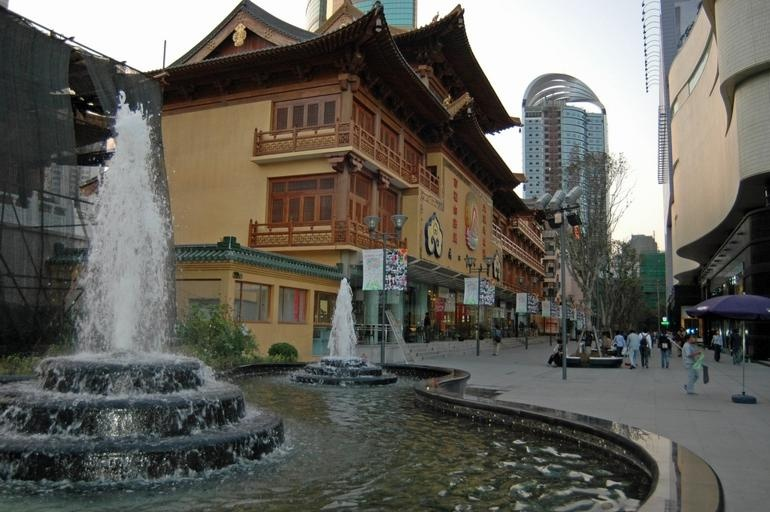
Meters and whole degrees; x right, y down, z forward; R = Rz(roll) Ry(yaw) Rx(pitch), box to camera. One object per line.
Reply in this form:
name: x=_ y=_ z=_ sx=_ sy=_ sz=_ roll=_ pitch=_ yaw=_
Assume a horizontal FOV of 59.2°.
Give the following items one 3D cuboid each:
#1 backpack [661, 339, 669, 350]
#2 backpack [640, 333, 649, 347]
backpack: x=13.717 y=4.316 z=33.265 sx=0.323 sy=0.442 sz=0.517 roll=3 pitch=3 yaw=28
backpack: x=13.271 y=4.300 z=34.693 sx=0.356 sy=0.646 sz=0.613 roll=6 pitch=-3 yaw=-36
